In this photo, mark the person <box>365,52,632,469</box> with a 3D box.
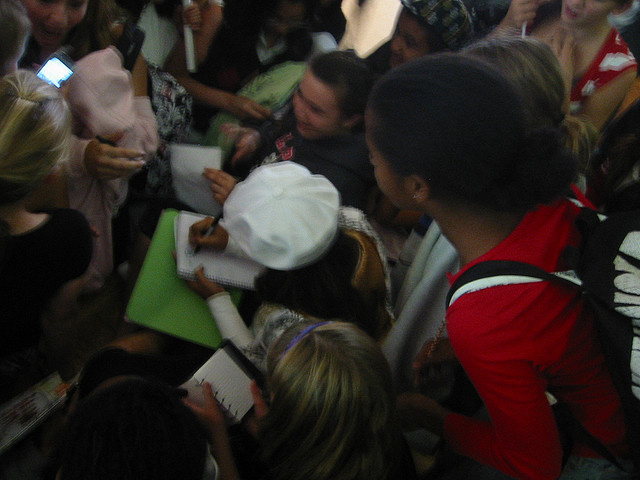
[{"bbox_3d":[0.622,0.086,1.745,0.713,1.534,0.690,24,60,41],"label":"person"}]

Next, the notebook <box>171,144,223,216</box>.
[{"bbox_3d":[-0.448,-0.266,1.992,0.244,0.273,0.065,1,8,0],"label":"notebook"}]

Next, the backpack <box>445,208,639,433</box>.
[{"bbox_3d":[0.723,0.241,1.748,0.456,0.699,0.684,-42,116,-62],"label":"backpack"}]

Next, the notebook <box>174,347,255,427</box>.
[{"bbox_3d":[-0.373,0.571,1.922,0.260,0.062,0.262,42,82,5],"label":"notebook"}]

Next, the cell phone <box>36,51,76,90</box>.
[{"bbox_3d":[-0.929,-0.593,1.730,0.080,0.145,0.081,42,68,-23],"label":"cell phone"}]

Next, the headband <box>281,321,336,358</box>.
[{"bbox_3d":[-0.046,0.317,1.673,0.211,0.103,0.052,-20,58,-42],"label":"headband"}]
